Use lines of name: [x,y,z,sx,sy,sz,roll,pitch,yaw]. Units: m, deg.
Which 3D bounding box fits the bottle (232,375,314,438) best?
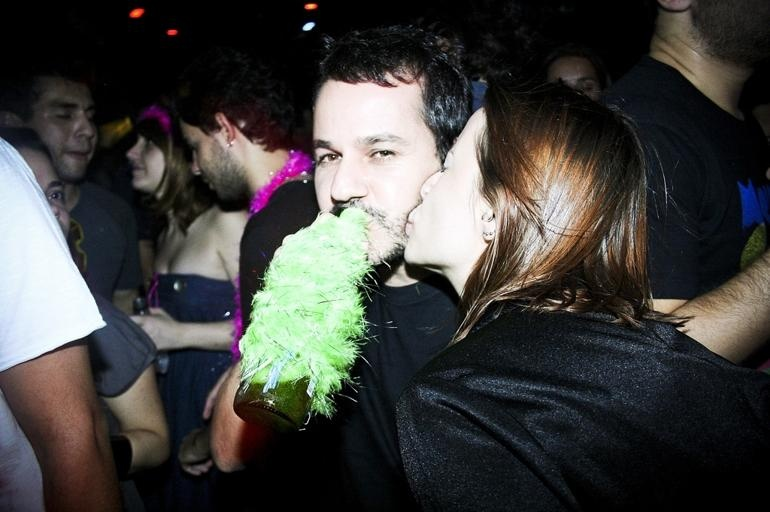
bottle: [-0.436,0.550,2.639,0.246,0.219,0.227,6,43,5]
